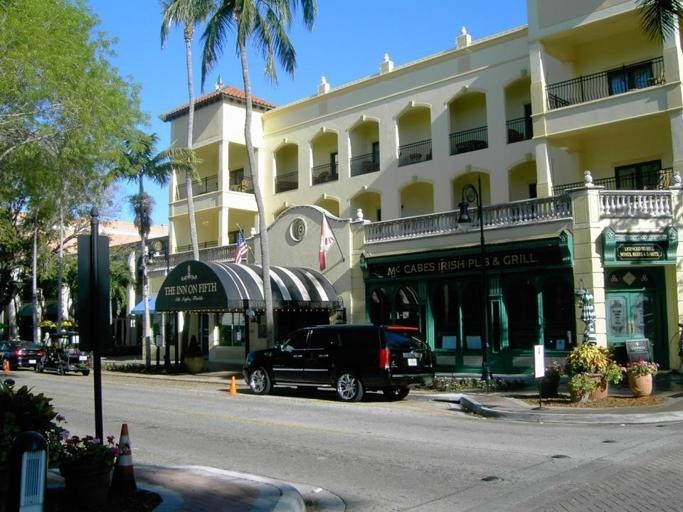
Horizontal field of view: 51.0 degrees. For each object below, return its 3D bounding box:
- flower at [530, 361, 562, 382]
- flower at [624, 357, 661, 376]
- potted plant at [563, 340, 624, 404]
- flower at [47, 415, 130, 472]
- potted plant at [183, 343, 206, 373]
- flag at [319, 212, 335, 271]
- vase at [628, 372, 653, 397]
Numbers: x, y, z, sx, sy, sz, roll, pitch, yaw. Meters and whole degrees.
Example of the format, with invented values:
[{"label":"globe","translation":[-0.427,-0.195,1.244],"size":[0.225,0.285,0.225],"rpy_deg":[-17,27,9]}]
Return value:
[{"label":"flower","translation":[6.049,3.529,21.112],"size":[0.839,0.705,0.923],"rpy_deg":[-4,1,12]},{"label":"flower","translation":[8.610,3.199,20.680],"size":[0.571,0.360,0.620],"rpy_deg":[-1,-1,-1]},{"label":"potted plant","translation":[7.125,3.299,20.271],"size":[1.086,1.879,1.193],"rpy_deg":[0,-5,-34]},{"label":"flower","translation":[-4.405,3.185,12.050],"size":[1.182,0.736,0.647],"rpy_deg":[-1,-8,-3]},{"label":"potted plant","translation":[-6.824,4.734,33.132],"size":[0.806,1.355,0.854],"rpy_deg":[1,-8,-17]},{"label":"flag","translation":[-0.641,-0.726,31.931],"size":[0.673,2.496,1.469],"rpy_deg":[-1,-8,-1]},{"label":"vase","translation":[8.634,3.691,20.573],"size":[0.534,0.609,0.649],"rpy_deg":[1,-11,-9]}]
